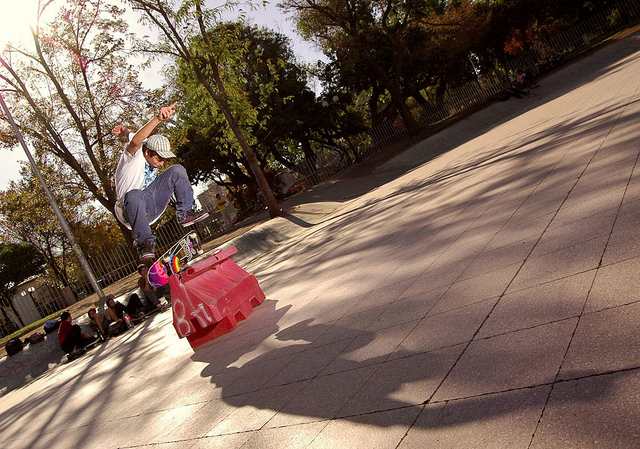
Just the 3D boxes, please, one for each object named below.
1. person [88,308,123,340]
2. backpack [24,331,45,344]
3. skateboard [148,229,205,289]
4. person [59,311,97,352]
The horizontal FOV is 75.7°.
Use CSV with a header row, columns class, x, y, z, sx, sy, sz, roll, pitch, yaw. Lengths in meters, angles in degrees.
class,x,y,z,sx,sy,sz,roll,pitch,yaw
person,-7.191,3.343,13.848,0.520,1.117,0.662,103,173,-53
backpack,-11.564,4.597,16.688,0.671,0.311,0.977,-9,0,-43
skateboard,-2.290,0.487,6.834,1.736,0.480,0.238,-37,32,35
person,-7.955,3.428,13.490,1.168,1.274,0.856,-2,-17,-39
